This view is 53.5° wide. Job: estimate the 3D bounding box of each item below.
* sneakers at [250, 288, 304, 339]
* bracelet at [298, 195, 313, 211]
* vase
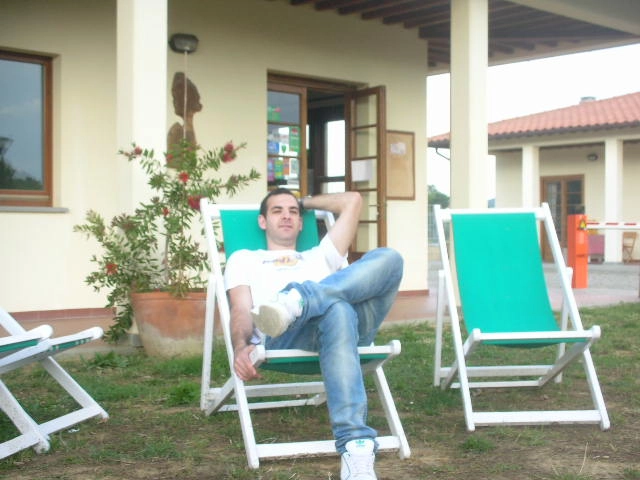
[{"bbox_3d":[-0.189,0.338,2.981,0.150,0.110,0.256,22,29,8],"label":"sneakers"},{"bbox_3d":[-0.086,-0.239,4.055,0.078,0.081,0.035,-8,1,11],"label":"bracelet"},{"bbox_3d":[-1.133,0.641,5.035,0.610,0.431,0.600,-5,-6,40],"label":"vase"}]
